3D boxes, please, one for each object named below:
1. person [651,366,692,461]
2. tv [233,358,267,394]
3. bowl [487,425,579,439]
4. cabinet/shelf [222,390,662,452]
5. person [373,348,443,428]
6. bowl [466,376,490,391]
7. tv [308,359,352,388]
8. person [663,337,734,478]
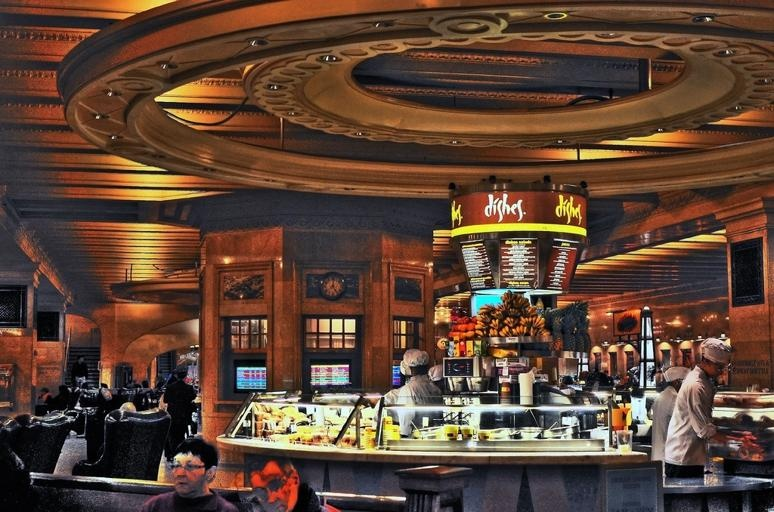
[{"bbox_3d":[3.477,1.949,13.831,0.576,1.148,0.569,3,-6,22],"label":"person"},{"bbox_3d":[-2.385,2.097,19.339,0.867,0.529,0.257,-2,-10,25],"label":"tv"},{"bbox_3d":[1.679,2.112,13.173,1.096,0.203,0.150,2,-10,1],"label":"bowl"},{"bbox_3d":[0.396,2.089,13.883,4.877,0.776,1.165,-3,-10,30],"label":"cabinet/shelf"},{"bbox_3d":[0.340,1.704,13.752,0.736,0.815,0.767,5,-7,-24],"label":"person"},{"bbox_3d":[1.171,1.659,14.256,0.308,0.186,0.135,-1,-10,18],"label":"bowl"},{"bbox_3d":[-1.052,2.078,19.450,0.757,0.319,0.084,1,-10,-10],"label":"tv"},{"bbox_3d":[3.641,1.776,12.936,0.575,1.639,0.732,5,-11,-10],"label":"person"}]
